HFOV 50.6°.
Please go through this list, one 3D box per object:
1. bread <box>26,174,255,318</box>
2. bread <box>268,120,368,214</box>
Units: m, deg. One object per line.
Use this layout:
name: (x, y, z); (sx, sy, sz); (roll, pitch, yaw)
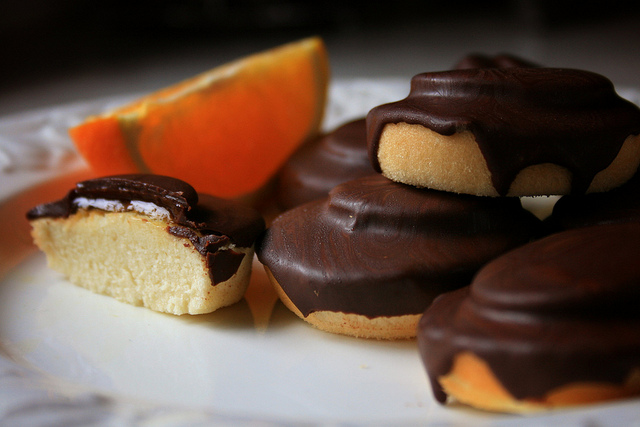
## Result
bread: (-0.375, 0.056, 1.398); (0.391, 0.171, 0.293); (15, 15, 28)
bread: (0.027, -0.107, 1.586); (0.236, 0.093, 0.225); (-7, 23, 31)
